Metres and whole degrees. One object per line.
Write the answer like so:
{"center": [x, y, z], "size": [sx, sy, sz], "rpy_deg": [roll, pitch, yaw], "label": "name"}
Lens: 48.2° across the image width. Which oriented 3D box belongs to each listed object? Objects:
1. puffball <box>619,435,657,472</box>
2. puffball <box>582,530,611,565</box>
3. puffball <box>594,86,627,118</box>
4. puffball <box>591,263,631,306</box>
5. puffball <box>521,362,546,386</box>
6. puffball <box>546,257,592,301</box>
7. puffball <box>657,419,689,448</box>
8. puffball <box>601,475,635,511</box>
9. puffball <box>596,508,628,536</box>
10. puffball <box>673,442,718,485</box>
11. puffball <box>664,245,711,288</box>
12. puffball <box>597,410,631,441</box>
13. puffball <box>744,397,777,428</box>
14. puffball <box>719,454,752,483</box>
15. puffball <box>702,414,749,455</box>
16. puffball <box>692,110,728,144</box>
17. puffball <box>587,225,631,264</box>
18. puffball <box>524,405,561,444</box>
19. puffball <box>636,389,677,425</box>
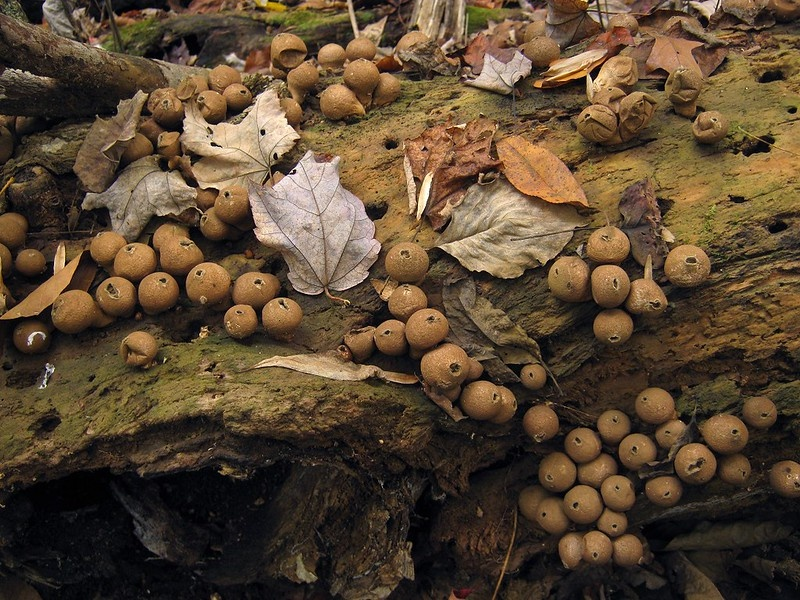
{"center": [1.907, 1.214, 7.164], "size": [0.300, 0.213, 0.219], "rpy_deg": [8, 48, 8], "label": "puffball"}
{"center": [1.583, 2.017, 7.310], "size": [0.234, 0.268, 0.248], "rpy_deg": [24, 69, 14], "label": "puffball"}
{"center": [1.685, -1.626, 7.211], "size": [0.218, 0.245, 0.149], "rpy_deg": [24, 55, 2], "label": "puffball"}
{"center": [1.627, -0.110, 6.893], "size": [0.315, 0.359, 0.343], "rpy_deg": [-13, 78, 22], "label": "puffball"}
{"center": [1.056, 0.617, 7.162], "size": [0.176, 0.202, 0.170], "rpy_deg": [18, 79, 13], "label": "puffball"}
{"center": [1.321, -0.143, 6.938], "size": [0.321, 0.326, 0.242], "rpy_deg": [2, 47, 2], "label": "puffball"}
{"center": [2.163, 1.068, 7.115], "size": [0.210, 0.205, 0.173], "rpy_deg": [-20, 50, -17], "label": "puffball"}
{"center": [1.753, 1.550, 7.200], "size": [0.278, 0.253, 0.225], "rpy_deg": [12, 48, 11], "label": "puffball"}
{"center": [1.702, 1.788, 7.254], "size": [0.227, 0.228, 0.225], "rpy_deg": [20, 76, 5], "label": "puffball"}
{"center": [2.320, 1.260, 7.175], "size": [0.313, 0.370, 0.312], "rpy_deg": [-15, 85, 0], "label": "puffball"}
{"center": [2.221, -0.241, 6.906], "size": [0.322, 0.320, 0.310], "rpy_deg": [-5, 86, 17], "label": "puffball"}
{"center": [1.713, 1.005, 7.181], "size": [0.253, 0.248, 0.239], "rpy_deg": [0, 84, 8], "label": "puffball"}
{"center": [2.833, 0.880, 7.019], "size": [0.248, 0.141, 0.239], "rpy_deg": [-10, 93, 15], "label": "puffball"}
{"center": [2.641, 1.318, 7.111], "size": [0.239, 0.228, 0.238], "rpy_deg": [-16, 86, 1], "label": "puffball"}
{"center": [2.561, 1.063, 7.068], "size": [0.301, 0.273, 0.274], "rpy_deg": [-12, 48, -10], "label": "puffball"}
{"center": [2.455, -1.349, 7.079], "size": [0.268, 0.238, 0.195], "rpy_deg": [18, 50, 17], "label": "puffball"}
{"center": [1.594, -0.408, 6.940], "size": [0.293, 0.277, 0.379], "rpy_deg": [13, 37, 8], "label": "puffball"}
{"center": [1.161, 0.968, 7.326], "size": [0.280, 0.318, 0.291], "rpy_deg": [-26, 90, 15], "label": "puffball"}
{"center": [2.062, 0.868, 7.235], "size": [0.353, 0.352, 0.328], "rpy_deg": [-4, 82, 28], "label": "puffball"}
